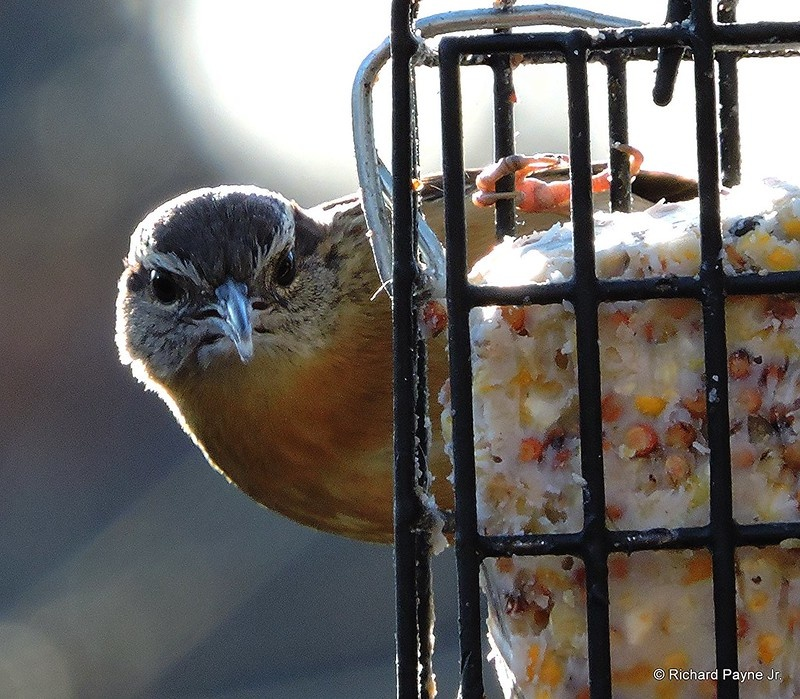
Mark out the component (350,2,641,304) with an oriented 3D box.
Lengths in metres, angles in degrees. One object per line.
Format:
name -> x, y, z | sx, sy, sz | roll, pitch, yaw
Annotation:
component -> 0.034, -0.419, 4.010 | 0.312, 0.461, 1.056 | 4, -14, -30
